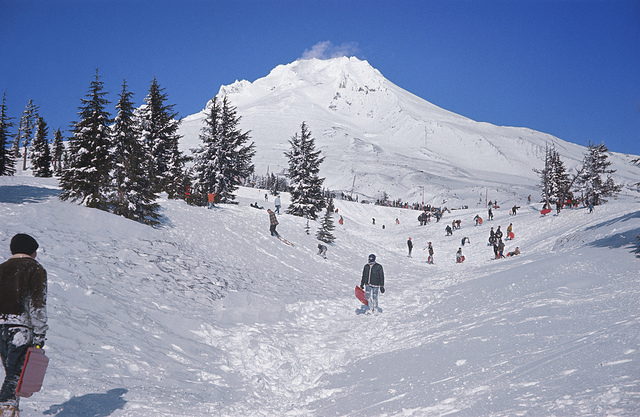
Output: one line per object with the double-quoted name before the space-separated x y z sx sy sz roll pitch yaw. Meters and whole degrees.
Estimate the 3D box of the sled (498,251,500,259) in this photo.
"sled" 12.755 3.248 44.635 0.099 0.523 0.350 1 -10 10

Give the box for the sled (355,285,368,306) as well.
"sled" 2.034 4.125 30.189 0.516 0.846 1.444 3 -10 -1

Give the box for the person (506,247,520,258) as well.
"person" 13.269 2.911 42.917 0.728 0.770 2.021 0 -10 16

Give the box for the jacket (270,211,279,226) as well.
"jacket" -3.184 0.631 41.666 0.522 0.791 0.226 -3 -28 -43

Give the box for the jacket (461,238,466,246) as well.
"jacket" 12.439 2.863 54.328 0.257 0.665 0.891 2 -10 10

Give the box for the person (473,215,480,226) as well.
"person" 15.909 1.143 63.453 0.290 1.094 0.745 5 -14 -41

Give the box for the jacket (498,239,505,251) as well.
"jacket" 12.945 2.575 44.738 0.372 0.857 0.901 0 -10 20

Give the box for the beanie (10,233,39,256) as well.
"beanie" -9.958 1.172 21.036 0.836 0.685 0.652 -22 21 -38

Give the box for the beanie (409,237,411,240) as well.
"beanie" 7.497 2.424 52.025 0.247 0.242 0.250 -2 3 -15

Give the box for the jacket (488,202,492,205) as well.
"jacket" 24.755 -0.834 91.076 0.553 0.555 1.001 6 13 11

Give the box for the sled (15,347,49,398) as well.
"sled" -9.492 5.348 20.632 0.850 1.572 0.349 7 -10 -20

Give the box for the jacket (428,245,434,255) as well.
"jacket" 8.574 3.154 48.354 0.231 0.695 1.140 1 -10 14

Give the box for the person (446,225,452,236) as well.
"person" 12.542 2.107 60.975 0.638 0.385 0.907 19 -26 38

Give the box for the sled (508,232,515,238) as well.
"sled" 15.776 2.156 51.329 0.294 0.416 0.875 -4 -12 35

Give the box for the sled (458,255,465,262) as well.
"sled" 10.987 3.865 48.579 0.325 0.528 1.045 -1 -11 25

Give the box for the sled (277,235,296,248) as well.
"sled" -2.308 2.147 41.976 0.955 0.146 0.713 29 0 14

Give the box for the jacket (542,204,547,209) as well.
"jacket" 21.700 -0.241 60.109 0.123 0.528 0.521 24 -8 14

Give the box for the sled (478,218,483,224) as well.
"sled" 15.743 1.172 61.375 0.394 0.668 0.773 2 -10 5

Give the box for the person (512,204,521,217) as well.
"person" 20.062 0.144 63.998 1.115 1.098 0.327 2 -5 -31

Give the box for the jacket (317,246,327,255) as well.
"jacket" 0.140 2.777 42.491 0.449 0.527 0.726 4 -10 -5

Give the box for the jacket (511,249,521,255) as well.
"jacket" 13.670 2.994 43.555 0.391 0.286 0.652 3 -11 1
